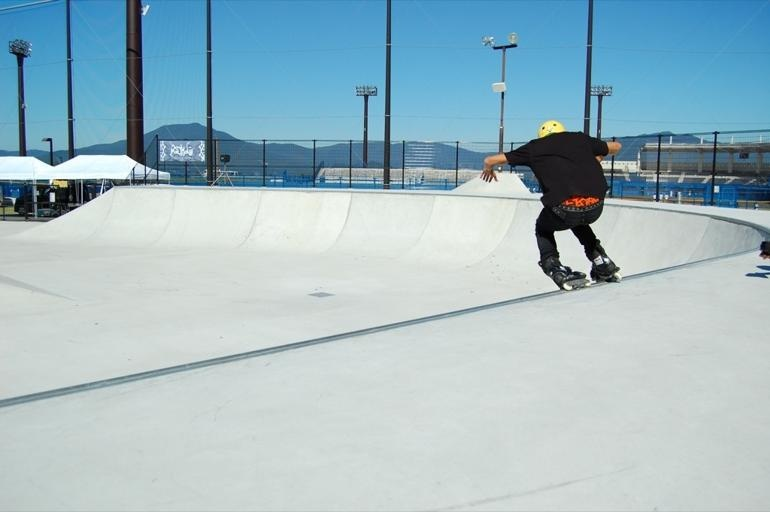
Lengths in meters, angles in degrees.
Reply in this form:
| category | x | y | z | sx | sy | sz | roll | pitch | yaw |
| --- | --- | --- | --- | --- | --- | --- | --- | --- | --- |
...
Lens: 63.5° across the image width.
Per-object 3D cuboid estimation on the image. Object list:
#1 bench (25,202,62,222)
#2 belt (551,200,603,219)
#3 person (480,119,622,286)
| category | x | y | z | sx | sy | sz | roll | pitch | yaw |
| --- | --- | --- | --- | --- | --- | --- | --- | --- | --- |
| bench | -13.293 | -1.762 | 24.107 | 1.237 | 0.740 | 1.196 | -5 | 8 | -44 |
| belt | 1.709 | -0.433 | 5.469 | 0.481 | 0.189 | 0.150 | 0 | 7 | -19 |
| person | 1.643 | -0.467 | 5.623 | 1.146 | 1.524 | 0.775 | -2 | 7 | -31 |
